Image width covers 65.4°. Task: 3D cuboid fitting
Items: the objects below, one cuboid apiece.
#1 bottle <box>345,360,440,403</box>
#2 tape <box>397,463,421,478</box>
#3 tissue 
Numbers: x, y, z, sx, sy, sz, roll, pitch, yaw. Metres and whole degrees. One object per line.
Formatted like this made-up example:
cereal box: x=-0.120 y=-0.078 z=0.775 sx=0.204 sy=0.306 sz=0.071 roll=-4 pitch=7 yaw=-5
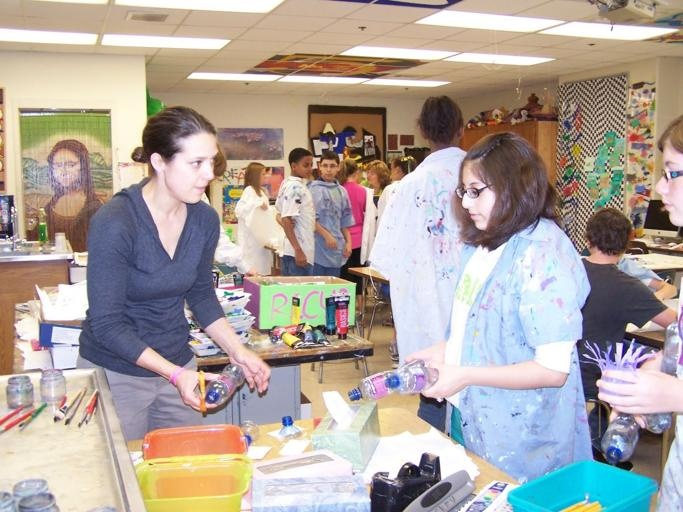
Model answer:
bottle: x=0.155 y=0.405 z=1.717 sx=0.294 sy=0.107 sz=0.194 roll=-1 pitch=2 yaw=-12
tape: x=0.187 y=0.598 z=1.508 sx=0.050 sy=0.050 sz=0.036 roll=-6 pitch=8 yaw=-39
tissue : x=0.015 y=0.483 z=1.732 sx=0.185 sy=0.240 sz=0.334 roll=1 pitch=4 yaw=15
